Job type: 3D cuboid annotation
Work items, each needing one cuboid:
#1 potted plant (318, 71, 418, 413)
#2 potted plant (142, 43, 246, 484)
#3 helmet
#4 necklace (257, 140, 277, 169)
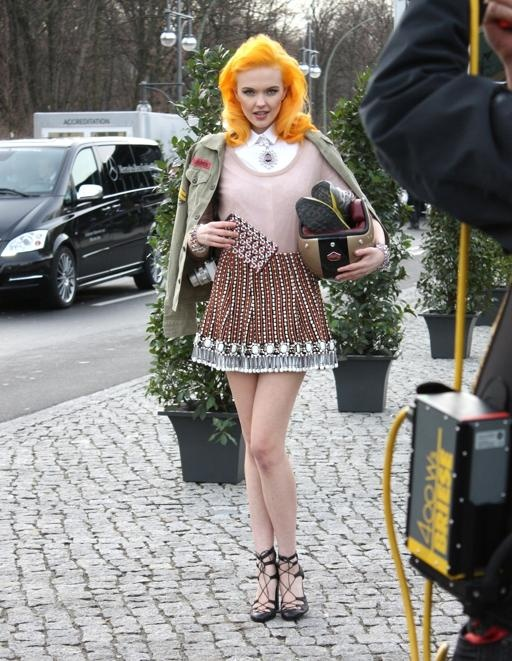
[{"bbox_3d":[0.958,-0.356,6.156,0.901,3.362,0.858,20,31,35],"label":"potted plant"},{"bbox_3d":[-0.421,-0.353,4.360,0.783,2.708,0.777,2,24,6],"label":"potted plant"},{"bbox_3d":[0.300,-0.347,2.759,0.349,0.318,0.377,2,18,-10],"label":"helmet"},{"bbox_3d":[0.045,-0.707,2.735,0.085,0.125,0.049,4,11,24],"label":"necklace"}]
